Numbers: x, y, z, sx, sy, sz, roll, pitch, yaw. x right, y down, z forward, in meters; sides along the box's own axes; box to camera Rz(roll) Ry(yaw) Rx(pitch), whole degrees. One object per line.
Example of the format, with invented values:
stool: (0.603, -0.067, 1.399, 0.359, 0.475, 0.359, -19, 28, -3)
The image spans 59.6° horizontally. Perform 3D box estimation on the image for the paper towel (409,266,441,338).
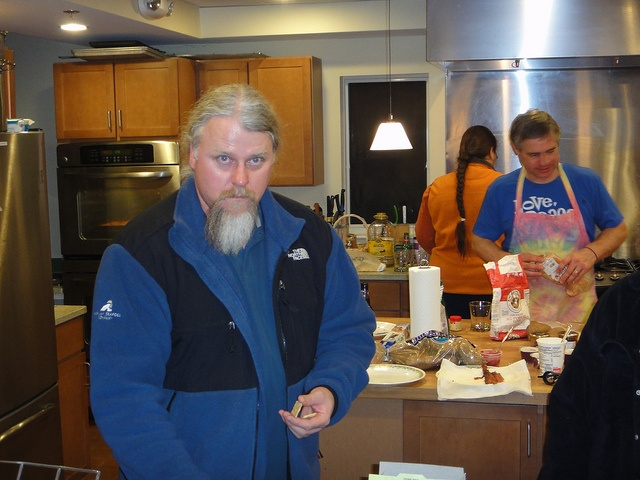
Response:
paper towel: (0.434, 0.259, 2.299, 0.122, 0.294, 0.068, 0, 4, 3)

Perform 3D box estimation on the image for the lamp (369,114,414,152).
lamp: (0.534, -0.777, 4.187, 0.273, 0.260, 0.300, -3, 7, -7)

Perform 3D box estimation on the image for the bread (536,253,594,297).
bread: (1.167, 0.168, 2.687, 0.252, 0.158, 0.061, 28, 11, 9)

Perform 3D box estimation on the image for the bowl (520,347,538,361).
bowl: (0.833, 0.443, 2.211, 0.051, 0.032, 0.050, 0, 7, 0)

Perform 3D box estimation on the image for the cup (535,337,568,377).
cup: (0.846, 0.418, 2.036, 0.119, 0.128, 0.119, 0, 5, 0)

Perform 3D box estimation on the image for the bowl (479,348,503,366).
bowl: (0.668, 0.449, 2.186, 0.063, 0.046, 0.063, -1, 10, 0)

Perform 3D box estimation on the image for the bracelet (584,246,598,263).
bracelet: (1.303, 0.074, 2.680, 0.049, 0.066, 0.066, -34, -1, -4)

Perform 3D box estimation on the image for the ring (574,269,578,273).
ring: (1.195, 0.144, 2.600, 0.019, 0.018, 0.005, 6, 3, 33)

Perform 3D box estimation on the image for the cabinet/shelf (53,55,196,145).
cabinet/shelf: (-1.806, -1.214, 4.759, 0.371, 0.620, 1.090, 23, 28, 39)

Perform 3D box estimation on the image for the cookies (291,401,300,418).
cookies: (-0.060, 0.445, 1.468, 0.024, 0.011, 0.042, 16, 14, -6)

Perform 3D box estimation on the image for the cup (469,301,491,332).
cup: (0.740, 0.370, 2.652, 0.120, 0.132, 0.117, 0, -5, 0)

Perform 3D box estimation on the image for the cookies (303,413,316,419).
cookies: (-0.026, 0.462, 1.471, 0.013, 0.006, 0.045, 14, 10, 31)
